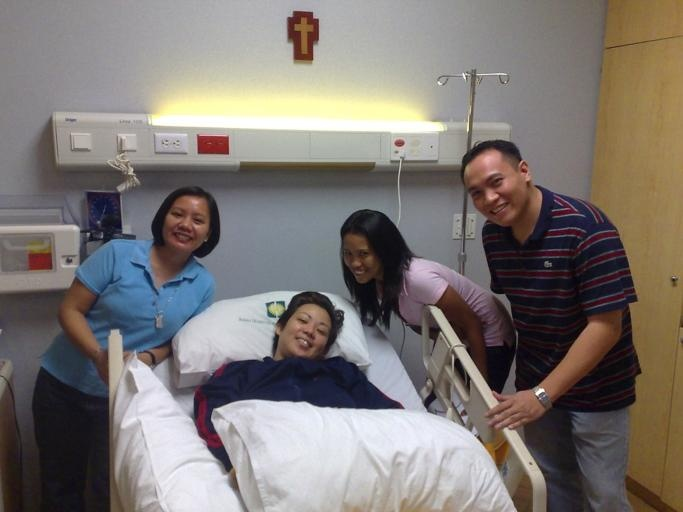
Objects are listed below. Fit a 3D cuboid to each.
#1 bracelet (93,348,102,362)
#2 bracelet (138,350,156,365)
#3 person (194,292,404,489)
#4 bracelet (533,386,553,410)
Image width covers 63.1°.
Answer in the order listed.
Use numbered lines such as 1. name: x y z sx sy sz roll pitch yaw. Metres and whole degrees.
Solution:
1. bracelet: -0.939 0.380 2.146 0.033 0.047 0.044 13 -31 -41
2. bracelet: -0.818 0.428 2.343 0.044 0.038 0.062 -26 -17 26
3. person: -0.166 0.564 2.299 0.851 0.500 1.137 -5 20 2
4. bracelet: 0.721 0.507 1.991 0.036 0.061 0.051 -24 40 -7
